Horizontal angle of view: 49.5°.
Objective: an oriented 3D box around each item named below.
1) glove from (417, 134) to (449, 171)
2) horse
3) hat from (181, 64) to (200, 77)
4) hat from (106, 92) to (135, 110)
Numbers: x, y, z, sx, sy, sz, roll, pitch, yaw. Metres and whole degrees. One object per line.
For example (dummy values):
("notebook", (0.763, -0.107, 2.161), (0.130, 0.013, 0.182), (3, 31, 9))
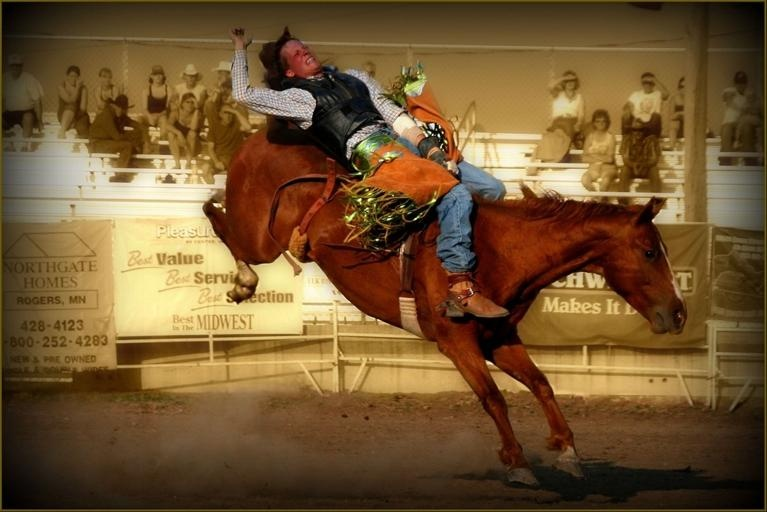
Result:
("glove", (0.537, -1.159, 9.216), (0.238, 0.401, 0.177), (-36, -22, -9))
("horse", (0.750, 0.423, 9.510), (5.041, 3.956, 1.249), (2, 11, 17))
("hat", (-3.495, -3.388, 15.131), (0.262, 0.193, 0.338), (-5, 11, -17))
("hat", (-4.842, -2.863, 15.380), (0.460, 0.289, 0.151), (-4, 11, -15))
